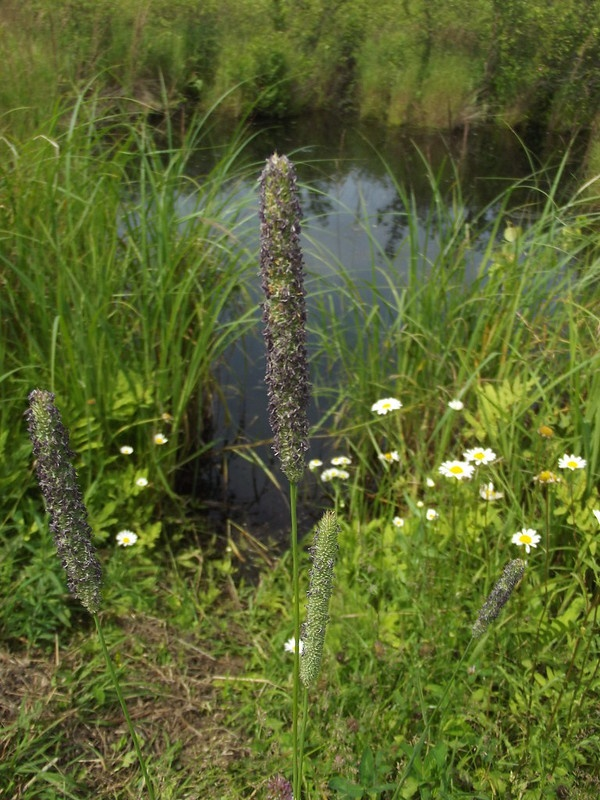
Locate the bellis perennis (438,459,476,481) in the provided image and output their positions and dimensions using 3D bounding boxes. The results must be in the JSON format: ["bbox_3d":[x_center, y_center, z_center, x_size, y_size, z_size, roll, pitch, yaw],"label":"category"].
[{"bbox_3d":[0.524,0.244,2.718,0.088,0.017,0.083,0,30,14],"label":"bellis perennis"}]

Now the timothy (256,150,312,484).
[{"bbox_3d":[-0.073,-0.206,1.962,0.171,0.745,0.161,0,20,-8],"label":"timothy"}]

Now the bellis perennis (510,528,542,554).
[{"bbox_3d":[0.758,0.473,2.672,0.084,0.095,0.075,25,54,29],"label":"bellis perennis"}]

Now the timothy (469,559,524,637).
[{"bbox_3d":[0.534,0.525,2.123,0.068,0.292,0.147,19,41,20],"label":"timothy"}]
